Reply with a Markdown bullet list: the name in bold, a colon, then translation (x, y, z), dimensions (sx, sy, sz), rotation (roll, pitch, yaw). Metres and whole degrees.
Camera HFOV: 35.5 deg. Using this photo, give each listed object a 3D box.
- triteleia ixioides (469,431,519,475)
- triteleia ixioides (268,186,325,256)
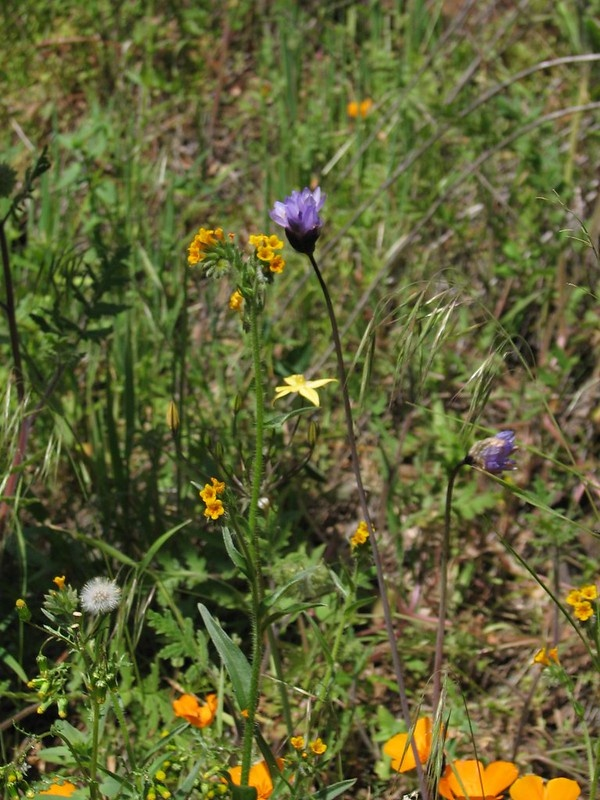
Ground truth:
- **triteleia ixioides**: translation (0.261, 0.075, 1.282), dimensions (0.070, 0.037, 0.044), rotation (-6, 65, 9)
- **triteleia ixioides**: translation (-0.006, -0.244, 1.312), dimensions (0.078, 0.090, 0.079), rotation (-15, 10, -31)
